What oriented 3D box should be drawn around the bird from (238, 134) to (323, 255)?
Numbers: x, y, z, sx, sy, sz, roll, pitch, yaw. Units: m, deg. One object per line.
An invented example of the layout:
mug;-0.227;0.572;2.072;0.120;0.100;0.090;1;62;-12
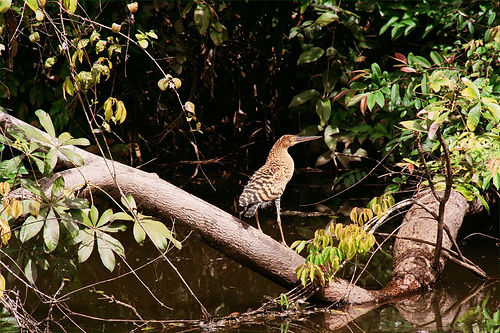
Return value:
bird;0.220;0.064;6.000;0.402;0.761;1.028;9;8;10
